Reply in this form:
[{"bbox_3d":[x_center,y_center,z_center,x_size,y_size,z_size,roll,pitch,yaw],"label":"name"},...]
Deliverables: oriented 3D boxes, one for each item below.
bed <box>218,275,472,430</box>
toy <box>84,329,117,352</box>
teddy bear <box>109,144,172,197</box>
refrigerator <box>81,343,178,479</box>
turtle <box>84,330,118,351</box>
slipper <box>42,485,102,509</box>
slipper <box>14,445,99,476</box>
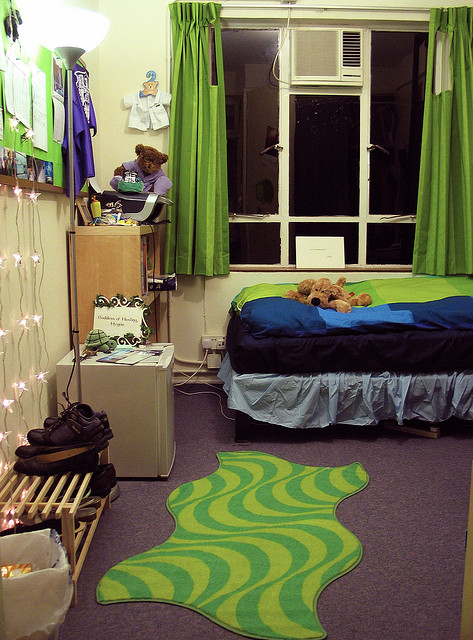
[{"bbox_3d":[0.610,0.169,2.843,1.323,0.638,0.712,0,7,-4],"label":"bed"},{"bbox_3d":[-0.592,0.090,2.223,0.108,0.075,0.082,-5,8,-13],"label":"toy"},{"bbox_3d":[-0.558,-0.860,3.099,0.323,0.323,0.207,15,23,-15],"label":"teddy bear"},{"bbox_3d":[-0.447,0.392,2.208,0.342,0.522,0.346,0,7,-3],"label":"refrigerator"},{"bbox_3d":[-0.593,0.089,2.224,0.104,0.069,0.079,-5,9,-19],"label":"turtle"},{"bbox_3d":[-0.485,0.523,1.580,0.065,0.076,0.199,-7,-15,33],"label":"slipper"},{"bbox_3d":[-0.527,0.419,1.525,0.234,0.084,0.041,-3,7,-26],"label":"slipper"}]
